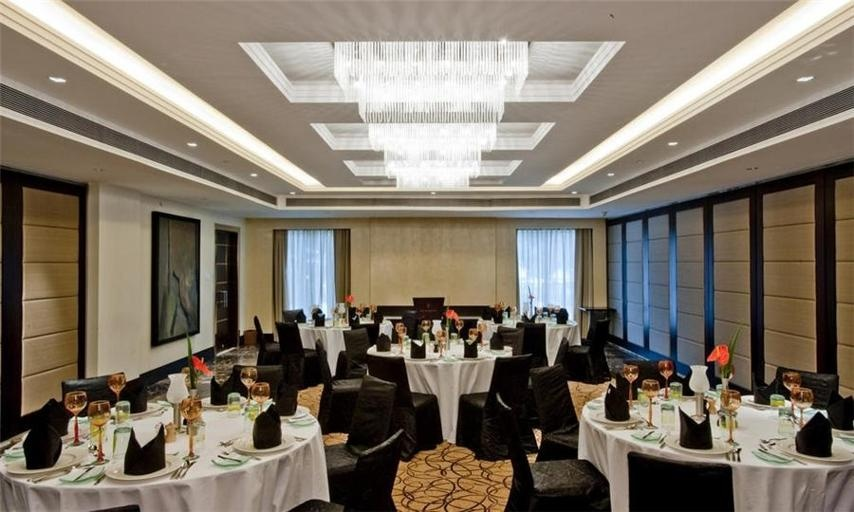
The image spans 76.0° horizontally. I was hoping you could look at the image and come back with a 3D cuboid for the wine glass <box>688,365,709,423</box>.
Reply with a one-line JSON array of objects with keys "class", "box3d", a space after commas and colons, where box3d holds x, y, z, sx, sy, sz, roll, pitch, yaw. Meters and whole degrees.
[{"class": "wine glass", "box3d": [2.714, 1.365, 5.450, 0.221, 0.490, 0.215, 16, -19, -41]}]
